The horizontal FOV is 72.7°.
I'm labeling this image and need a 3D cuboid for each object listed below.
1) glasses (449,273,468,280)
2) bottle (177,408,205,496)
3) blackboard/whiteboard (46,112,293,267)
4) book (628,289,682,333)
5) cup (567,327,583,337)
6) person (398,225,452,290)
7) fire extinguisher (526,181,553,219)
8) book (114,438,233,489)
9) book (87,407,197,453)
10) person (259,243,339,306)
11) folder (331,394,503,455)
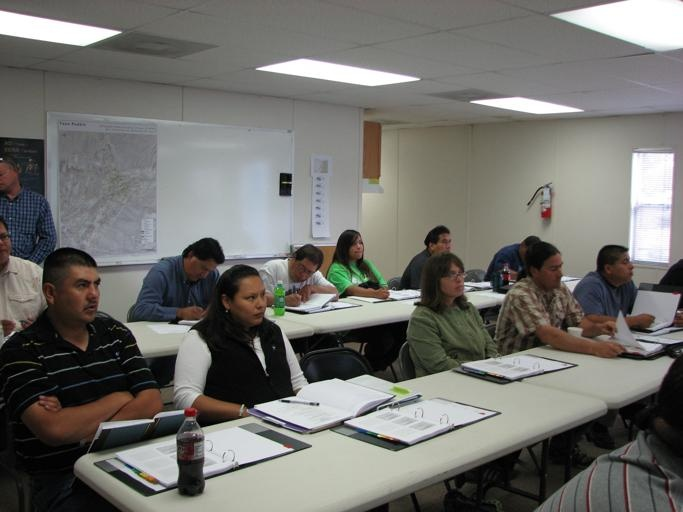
[{"bbox_3d":[0.812,0.143,3.259,0.144,0.041,0.143,3,-11,-37],"label":"glasses"},{"bbox_3d":[-0.473,0.599,1.435,0.085,0.237,0.129,-5,8,-21],"label":"bottle"},{"bbox_3d":[-1.959,-0.719,5.474,3.084,1.561,0.160,3,9,6],"label":"blackboard/whiteboard"},{"bbox_3d":[2.513,0.432,3.734,0.360,0.314,0.260,11,-3,40],"label":"book"},{"bbox_3d":[1.590,0.510,3.158,0.072,0.054,0.071,-2,-1,0],"label":"cup"},{"bbox_3d":[1.055,0.247,5.541,0.533,1.125,0.565,-1,1,35],"label":"person"},{"bbox_3d":[3.324,-0.901,7.795,0.406,0.630,0.177,2,9,23],"label":"fire extinguisher"},{"bbox_3d":[-0.517,0.692,1.596,0.221,0.242,0.014,-9,36,-9],"label":"book"},{"bbox_3d":[-0.771,0.669,1.772,0.353,0.073,0.265,-11,-20,-2],"label":"book"},{"bbox_3d":[-0.436,0.189,4.502,0.511,0.734,0.391,6,16,-38],"label":"person"},{"bbox_3d":[0.304,0.676,1.917,0.382,0.040,0.233,-6,8,-44],"label":"folder"}]
